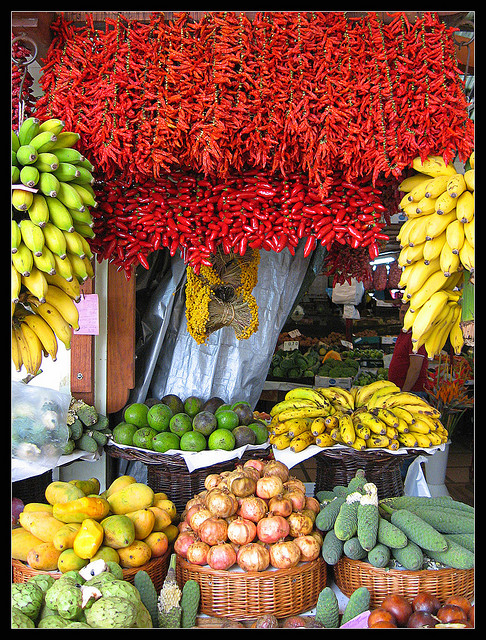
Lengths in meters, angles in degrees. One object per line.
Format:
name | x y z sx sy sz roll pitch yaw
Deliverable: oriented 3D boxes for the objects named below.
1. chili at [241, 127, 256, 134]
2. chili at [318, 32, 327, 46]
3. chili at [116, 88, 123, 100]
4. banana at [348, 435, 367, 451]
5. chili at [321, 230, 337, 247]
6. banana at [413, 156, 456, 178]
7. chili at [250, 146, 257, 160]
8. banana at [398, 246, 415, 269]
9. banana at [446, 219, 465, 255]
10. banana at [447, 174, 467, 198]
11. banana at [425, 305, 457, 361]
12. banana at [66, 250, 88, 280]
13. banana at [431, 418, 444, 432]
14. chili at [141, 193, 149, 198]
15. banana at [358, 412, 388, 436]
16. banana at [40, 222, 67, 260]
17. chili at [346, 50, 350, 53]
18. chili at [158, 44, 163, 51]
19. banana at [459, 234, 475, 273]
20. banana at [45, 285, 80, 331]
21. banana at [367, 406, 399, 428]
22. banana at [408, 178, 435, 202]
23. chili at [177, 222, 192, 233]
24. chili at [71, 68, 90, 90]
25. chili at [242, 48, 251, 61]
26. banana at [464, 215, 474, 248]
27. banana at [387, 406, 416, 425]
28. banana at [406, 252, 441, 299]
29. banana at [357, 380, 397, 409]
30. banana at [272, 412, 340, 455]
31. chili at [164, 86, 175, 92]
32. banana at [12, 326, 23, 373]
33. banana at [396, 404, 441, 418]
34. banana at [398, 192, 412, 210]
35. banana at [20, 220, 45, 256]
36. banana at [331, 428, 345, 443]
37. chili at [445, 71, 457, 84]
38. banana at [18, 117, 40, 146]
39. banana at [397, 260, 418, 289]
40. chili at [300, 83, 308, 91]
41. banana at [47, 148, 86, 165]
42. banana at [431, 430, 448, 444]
chili | 0.011 -0.565 1.509 0.037 0.020 0.036 2 4 -39
chili | 0.237 -0.844 1.516 0.024 0.043 0.015 4 3 -10
chili | -0.369 -0.674 1.500 0.005 0.024 0.006 9 -22 31
banana | 0.445 0.480 1.975 0.051 0.045 0.114 -6 2 2
chili | 0.287 -0.270 1.719 0.029 0.065 0.023 34 -11 26
banana | 0.594 -0.473 1.571 0.116 0.065 0.040 10 29 21
chili | 0.028 -0.519 1.567 0.012 0.050 0.010 14 39 22
banana | 0.525 -0.199 1.645 0.025 0.073 0.024 3 33 -33
banana | 0.622 -0.245 1.490 0.035 0.038 0.116 -12 41 22
banana | 0.619 -0.393 1.476 0.044 0.031 0.092 -17 23 30
banana | 0.677 0.058 1.784 0.048 0.240 0.085 28 33 18
banana | -0.496 -0.164 1.525 0.028 0.085 0.030 -39 5 -11
banana | 0.836 0.457 2.178 0.024 0.086 0.025 -20 -24 9
chili | -0.339 -0.429 1.733 0.020 0.010 0.008 12 2 4
banana | 0.530 0.418 2.070 0.039 0.046 0.135 -36 13 3
banana | -0.513 -0.217 1.371 0.040 0.125 0.041 -35 -17 -15
chili | 0.311 -0.803 1.512 0.008 0.009 0.004 4 7 -25
chili | -0.250 -0.818 1.517 0.005 0.006 0.017 6 45 35
banana | 0.647 -0.196 1.477 0.023 0.090 0.071 4 3 -4
banana | -0.550 -0.040 1.524 0.038 0.132 0.043 -26 16 35
banana | 0.594 0.407 2.135 0.047 0.046 0.163 17 1 -4
banana | 0.546 -0.404 1.577 0.032 0.041 0.122 8 40 28
chili | -0.201 -0.312 1.725 0.044 0.024 0.016 29 -9 5
chili | -0.498 -0.731 1.533 0.013 0.082 0.015 45 2 -2
chili | 0.009 -0.776 1.472 0.012 0.049 0.012 28 1 -21
banana | 0.657 -0.256 1.470 0.029 0.088 0.024 0 -21 32
banana | 0.681 0.401 2.210 0.054 0.049 0.174 22 0 -11
banana | 0.574 -0.141 1.603 0.047 0.140 0.038 34 5 -27
banana | 0.659 0.374 2.507 0.046 0.181 0.112 51 2 -33
banana | 0.279 0.436 2.094 0.135 0.071 0.254 17 30 38
chili | -0.213 -0.681 1.493 0.019 0.009 0.015 5 3 -3
banana | -0.688 0.085 1.558 0.047 0.146 0.034 1 3 37
banana | 0.785 0.393 2.278 0.230 0.071 0.063 0 -13 39
banana | 0.527 -0.383 1.654 0.025 0.071 0.021 26 -4 -11
banana | -0.553 -0.217 1.321 0.045 0.094 0.036 -28 -22 -16
banana | 0.383 0.467 2.053 0.030 0.059 0.024 -25 3 -29
chili | 0.612 -0.719 1.492 0.010 0.043 0.012 -38 -9 15
banana | -0.588 -0.500 1.393 0.035 0.046 0.127 32 -31 -15
banana | 0.536 -0.143 1.680 0.036 0.104 0.031 33 -8 -14
chili | 0.178 -0.692 1.499 0.027 0.029 0.009 -2 -3 4
banana | -0.496 -0.465 1.429 0.115 0.037 0.039 9 -17 -7
banana | 0.829 0.491 2.150 0.062 0.021 0.047 39 21 4
